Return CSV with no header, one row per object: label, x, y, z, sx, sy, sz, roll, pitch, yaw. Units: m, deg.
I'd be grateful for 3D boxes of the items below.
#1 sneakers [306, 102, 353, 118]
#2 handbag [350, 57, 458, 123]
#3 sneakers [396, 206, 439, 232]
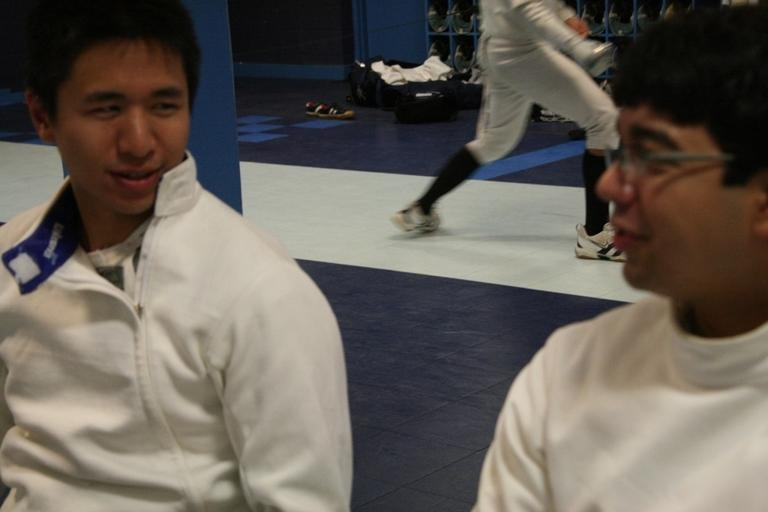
sneakers,-0.746,-1.900,7.833,0.680,0.216,0.246,7,36,22
handbag,0.200,-2.186,7.966,1.458,0.483,1.012,7,30,9
sneakers,0.197,-0.222,3.638,0.248,0.132,0.156,9,32,9
